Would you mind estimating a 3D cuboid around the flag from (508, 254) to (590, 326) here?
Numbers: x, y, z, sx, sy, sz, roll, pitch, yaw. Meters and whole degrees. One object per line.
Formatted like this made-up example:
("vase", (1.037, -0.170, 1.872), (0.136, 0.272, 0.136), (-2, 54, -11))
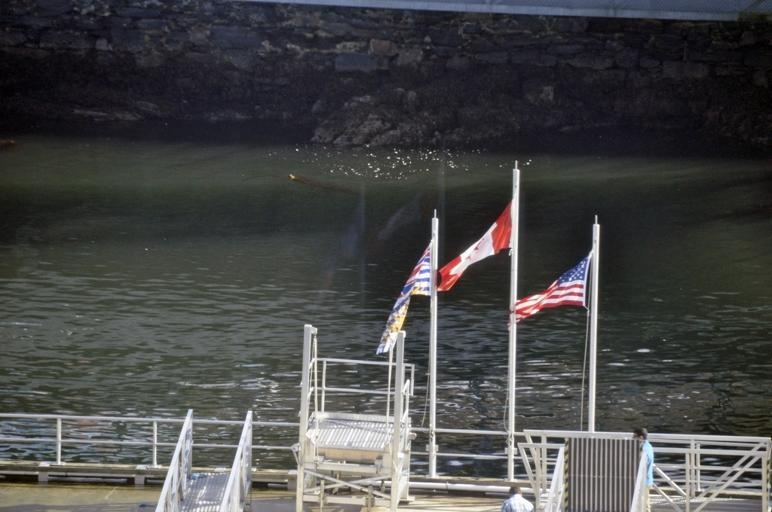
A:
("flag", (8.238, 1.897, 98.527), (5.263, 2.763, 0.503), (-9, -1, 23))
